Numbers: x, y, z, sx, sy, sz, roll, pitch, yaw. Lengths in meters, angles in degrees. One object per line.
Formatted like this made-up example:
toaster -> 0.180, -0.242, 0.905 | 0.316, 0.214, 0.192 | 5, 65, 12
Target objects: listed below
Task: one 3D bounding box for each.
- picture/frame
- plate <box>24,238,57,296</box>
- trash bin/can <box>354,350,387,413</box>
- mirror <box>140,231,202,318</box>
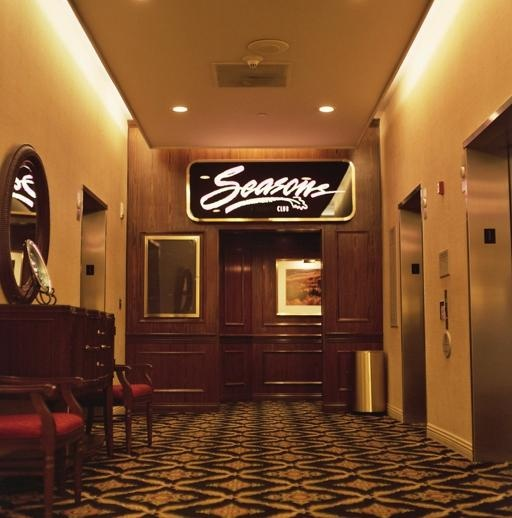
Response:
picture/frame -> 0.867, 0.516, 8.336 | 0.896, 1.171, 0.032 | 0, -32, 4
plate -> -1.723, 0.078, 3.446 | 0.094, 0.451, 0.334 | -11, -10, -7
trash bin/can -> 1.784, 1.880, 6.864 | 0.430, 0.941, 0.479 | -1, -4, -8
mirror -> -1.431, 0.321, 7.276 | 1.120, 1.941, 0.077 | 0, -5, -1
